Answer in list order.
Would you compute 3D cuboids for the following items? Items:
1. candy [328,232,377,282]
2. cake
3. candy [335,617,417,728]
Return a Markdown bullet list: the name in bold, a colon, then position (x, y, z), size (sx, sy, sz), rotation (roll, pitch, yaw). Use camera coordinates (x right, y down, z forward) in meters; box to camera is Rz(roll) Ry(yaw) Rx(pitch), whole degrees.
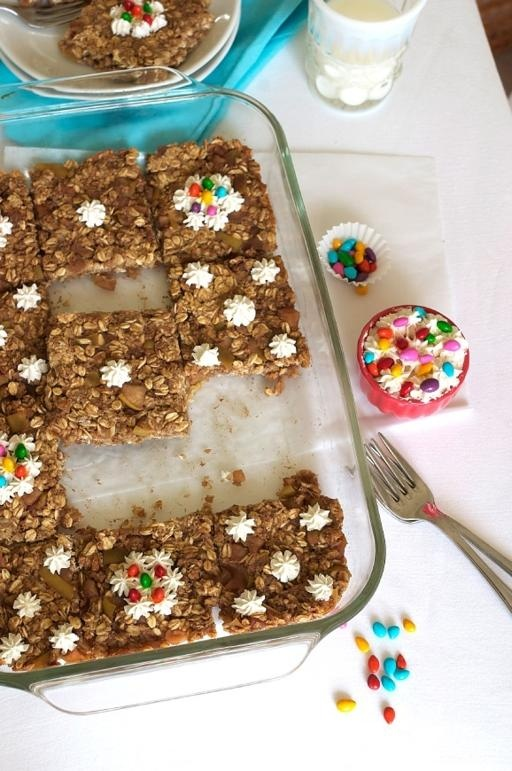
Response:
- **candy**: position (0.299, -0.397, 2.195), size (0.151, 0.049, 0.146), rotation (-36, 80, -6)
- **cake**: position (0.441, -0.062, 1.975), size (0.340, 0.228, 0.305), rotation (-1, 83, 3)
- **candy**: position (0.331, 0.755, 1.882), size (0.166, 0.061, 0.279), rotation (15, 69, 3)
